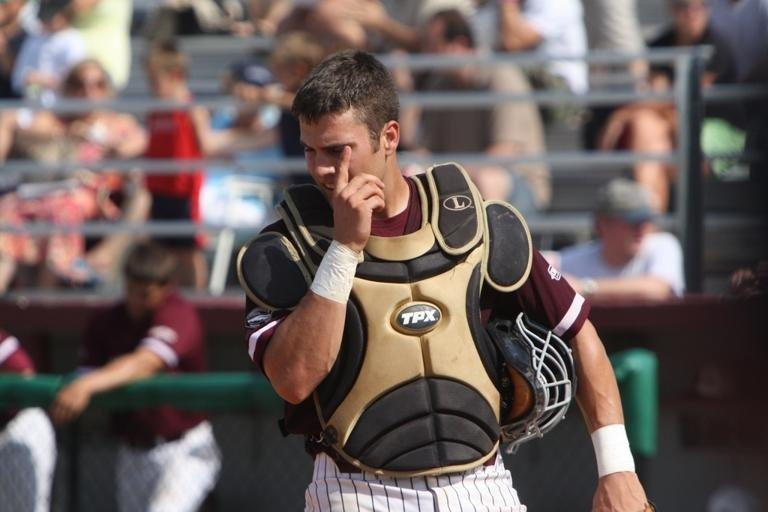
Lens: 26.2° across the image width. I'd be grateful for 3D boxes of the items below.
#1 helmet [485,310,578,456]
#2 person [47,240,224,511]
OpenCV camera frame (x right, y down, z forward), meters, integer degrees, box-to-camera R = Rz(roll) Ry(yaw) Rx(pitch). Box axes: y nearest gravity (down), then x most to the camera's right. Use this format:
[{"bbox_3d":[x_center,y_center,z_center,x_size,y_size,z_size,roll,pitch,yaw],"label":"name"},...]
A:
[{"bbox_3d":[0.775,0.622,8.919,0.484,0.631,0.487,39,27,-10],"label":"helmet"},{"bbox_3d":[-1.551,0.824,10.178,0.796,1.270,2.291,-8,62,7],"label":"person"}]
